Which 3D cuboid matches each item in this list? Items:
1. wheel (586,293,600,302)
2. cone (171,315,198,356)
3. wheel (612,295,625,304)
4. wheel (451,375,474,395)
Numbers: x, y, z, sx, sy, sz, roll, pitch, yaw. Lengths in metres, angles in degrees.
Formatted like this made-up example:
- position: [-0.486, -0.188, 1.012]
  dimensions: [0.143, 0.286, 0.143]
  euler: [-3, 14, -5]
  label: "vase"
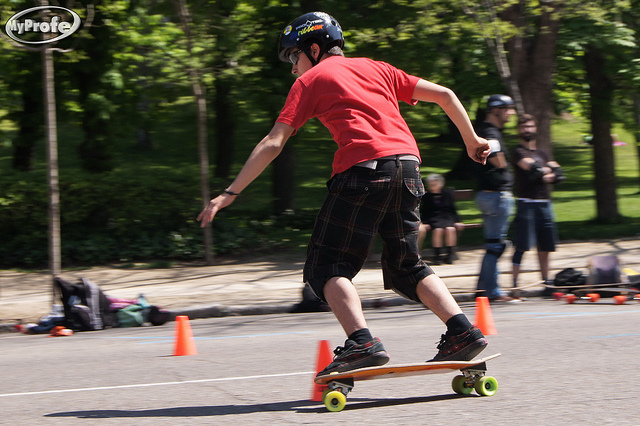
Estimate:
- position: [4.104, 1.267, 12.330]
  dimensions: [0.197, 0.088, 0.132]
  euler: [-1, 0, 4]
  label: "wheel"
- position: [-1.678, 1.475, 10.113]
  dimensions: [0.313, 0.441, 0.643]
  euler: [-2, 1, -9]
  label: "cone"
- position: [4.364, 1.278, 11.991]
  dimensions: [0.203, 0.085, 0.136]
  euler: [0, 10, -1]
  label: "wheel"
- position: [1.433, 1.719, 8.199]
  dimensions: [0.159, 0.175, 0.254]
  euler: [2, 19, 35]
  label: "wheel"
